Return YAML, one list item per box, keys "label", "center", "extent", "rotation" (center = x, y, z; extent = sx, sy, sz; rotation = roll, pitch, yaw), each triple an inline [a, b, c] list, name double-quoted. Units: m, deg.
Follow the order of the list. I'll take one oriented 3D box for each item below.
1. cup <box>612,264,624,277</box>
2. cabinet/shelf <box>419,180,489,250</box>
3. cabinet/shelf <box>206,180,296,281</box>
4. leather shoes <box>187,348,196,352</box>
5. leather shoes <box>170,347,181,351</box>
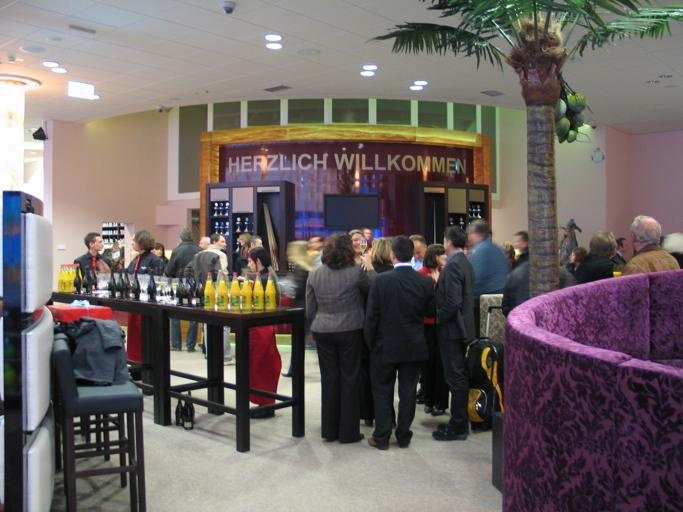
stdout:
- label: "cup"
  center: [2.578, 0.136, 5.704]
  extent: [0.118, 0.137, 0.102]
  rotation: [5, 7, 26]
- label: "cabinet/shelf"
  center: [1.682, -0.675, 9.562]
  extent: [1.301, 1.301, 0.395]
  rotation: [0, 0, -23]
- label: "cabinet/shelf"
  center: [-1.323, -0.411, 9.230]
  extent: [1.558, 1.961, 0.568]
  rotation: [0, 0, 19]
- label: "leather shoes"
  center: [-2.070, 1.296, 8.392]
  extent: [0.036, 0.049, 0.110]
  rotation: [4, 5, 24]
- label: "leather shoes"
  center: [-2.308, 1.300, 8.475]
  extent: [0.141, 0.064, 0.053]
  rotation: [7, -2, 11]
